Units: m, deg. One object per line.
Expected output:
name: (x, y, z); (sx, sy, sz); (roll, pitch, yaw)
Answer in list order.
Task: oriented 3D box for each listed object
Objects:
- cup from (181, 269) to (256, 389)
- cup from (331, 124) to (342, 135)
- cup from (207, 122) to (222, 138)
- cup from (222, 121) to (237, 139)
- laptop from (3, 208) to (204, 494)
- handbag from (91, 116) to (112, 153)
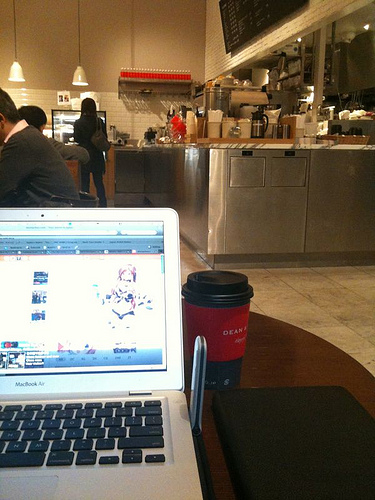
cup: (0.037, 0.110, 0.542); (0.093, 0.141, 0.098); (1, 3, 0)
cup: (1.677, -1.356, 4.463); (0.144, 0.100, 0.055); (-3, 10, -32)
cup: (0.237, -1.081, 3.546); (0.121, 0.135, 0.128); (0, 23, 0)
cup: (0.374, -1.074, 3.512); (0.131, 0.168, 0.213); (3, 9, 1)
laptop: (-0.088, 0.065, 0.400); (0.195, 0.173, 0.230); (-1, 11, -4)
handbag: (-1.225, -1.629, 5.592); (0.177, 0.558, 0.390); (-12, -3, -10)
